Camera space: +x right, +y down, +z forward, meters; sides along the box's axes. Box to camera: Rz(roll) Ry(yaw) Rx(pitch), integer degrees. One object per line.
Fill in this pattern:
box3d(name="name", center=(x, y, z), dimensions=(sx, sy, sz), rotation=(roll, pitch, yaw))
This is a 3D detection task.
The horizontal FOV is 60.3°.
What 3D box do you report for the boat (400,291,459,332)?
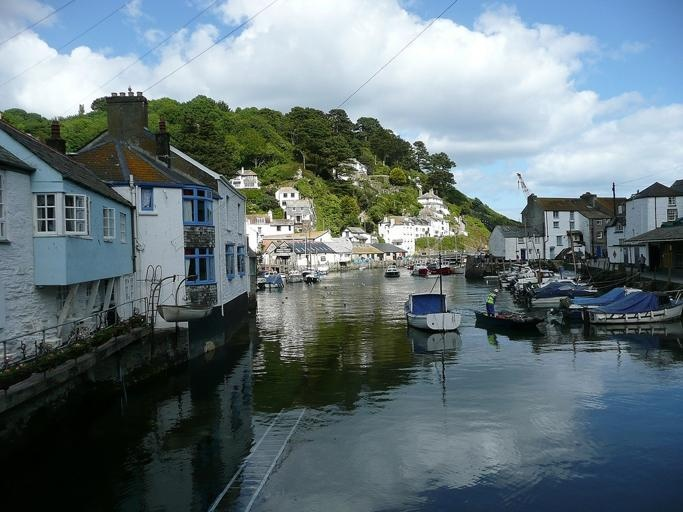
box3d(name="boat", center=(5.978, 3.859, 39.629), dimensions=(3.165, 2.590, 2.935), rotation=(-4, 0, -9))
